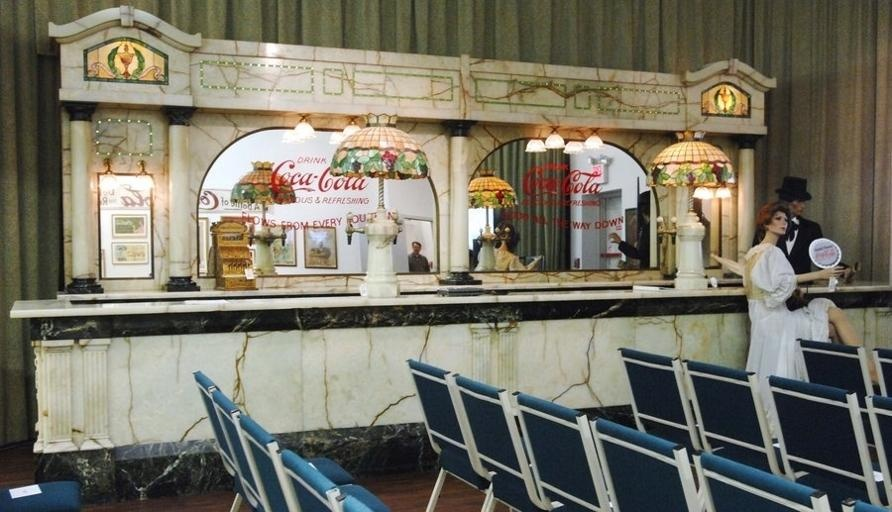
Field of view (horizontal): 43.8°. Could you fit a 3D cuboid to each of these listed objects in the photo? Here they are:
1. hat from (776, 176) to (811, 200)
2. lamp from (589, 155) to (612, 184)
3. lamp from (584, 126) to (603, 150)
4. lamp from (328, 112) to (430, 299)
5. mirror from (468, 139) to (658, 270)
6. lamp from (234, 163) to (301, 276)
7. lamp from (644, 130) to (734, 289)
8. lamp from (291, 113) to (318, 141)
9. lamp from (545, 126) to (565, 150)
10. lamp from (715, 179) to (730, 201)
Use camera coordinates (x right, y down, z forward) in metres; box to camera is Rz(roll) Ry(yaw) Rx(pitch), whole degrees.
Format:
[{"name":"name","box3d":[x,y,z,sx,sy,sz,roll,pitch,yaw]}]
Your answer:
[{"name":"hat","box3d":[4.269,-0.822,13.649,0.380,0.293,0.485,-2,3,16]},{"name":"lamp","box3d":[2.053,-1.150,14.728,0.377,0.457,0.193,-1,-1,6]},{"name":"lamp","box3d":[1.932,-1.531,14.506,0.242,0.233,0.236,-1,3,-3]},{"name":"lamp","box3d":[-0.726,-0.586,12.383,1.003,2.012,1.738,-3,3,-5]},{"name":"mirror","box3d":[1.443,-0.693,14.554,1.827,1.232,0.072,0,-1,-13]},{"name":"lamp","box3d":[-2.208,-0.462,13.705,0.732,1.410,0.194,-4,4,-10]},{"name":"lamp","box3d":[2.934,-0.580,13.210,0.904,1.853,1.648,-2,3,11]},{"name":"lamp","box3d":[-1.698,-1.582,13.630,0.307,0.315,0.314,6,7,36]},{"name":"lamp","box3d":[1.445,-1.533,14.434,0.268,0.243,0.259,1,2,-14]},{"name":"lamp","box3d":[3.240,-0.779,12.958,0.193,0.172,0.189,2,9,4]}]
